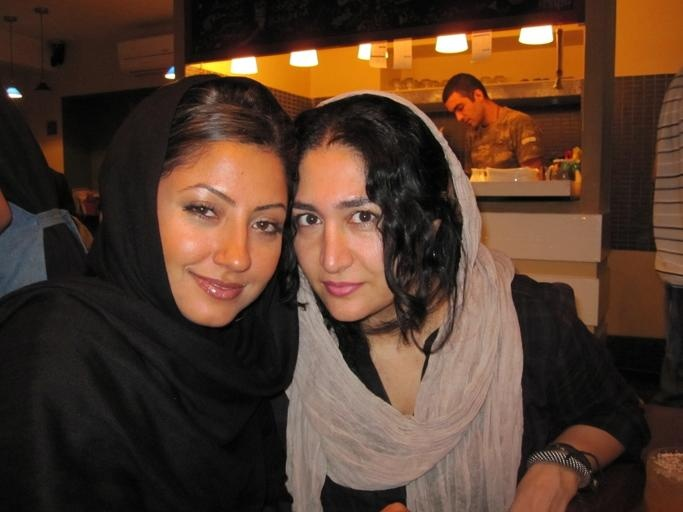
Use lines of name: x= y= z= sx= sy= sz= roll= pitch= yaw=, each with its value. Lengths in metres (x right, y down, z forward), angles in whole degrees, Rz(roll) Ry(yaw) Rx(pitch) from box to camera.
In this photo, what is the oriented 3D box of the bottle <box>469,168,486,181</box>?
bottle: x=0.911 y=-0.546 z=4.152 sx=0.112 sy=0.108 sz=0.058 roll=0 pitch=-3 yaw=14
